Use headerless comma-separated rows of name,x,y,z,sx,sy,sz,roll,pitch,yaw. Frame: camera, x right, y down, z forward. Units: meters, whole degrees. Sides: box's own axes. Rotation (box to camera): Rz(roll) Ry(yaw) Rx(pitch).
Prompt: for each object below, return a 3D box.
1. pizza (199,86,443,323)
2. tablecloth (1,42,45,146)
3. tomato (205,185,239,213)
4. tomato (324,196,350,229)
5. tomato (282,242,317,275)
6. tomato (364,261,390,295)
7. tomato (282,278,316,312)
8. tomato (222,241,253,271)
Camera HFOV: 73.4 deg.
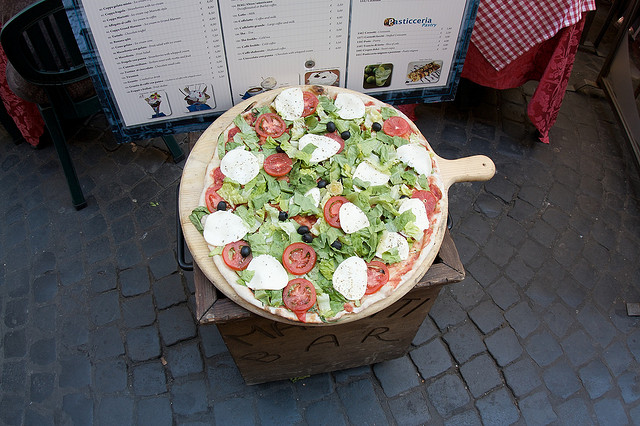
pizza,-0.004,-0.089,2.657,1.499,0.596,1.316,-13,55,-12
tablecloth,-2.911,-1.038,4.176,0.241,0.900,0.120,-34,60,-26
tomato,-0.603,-0.073,2.629,0.192,0.057,0.155,-5,54,-7
tomato,0.084,0.003,2.620,0.131,0.072,0.187,14,54,8
tomato,-0.126,0.277,2.529,0.182,0.071,0.177,18,55,11
tomato,0.305,0.378,2.543,0.155,0.053,0.187,-19,29,-6
tomato,-0.120,0.477,2.475,0.176,0.075,0.171,-36,63,-26
tomato,-0.486,0.263,2.533,0.168,0.072,0.160,-14,55,-12
